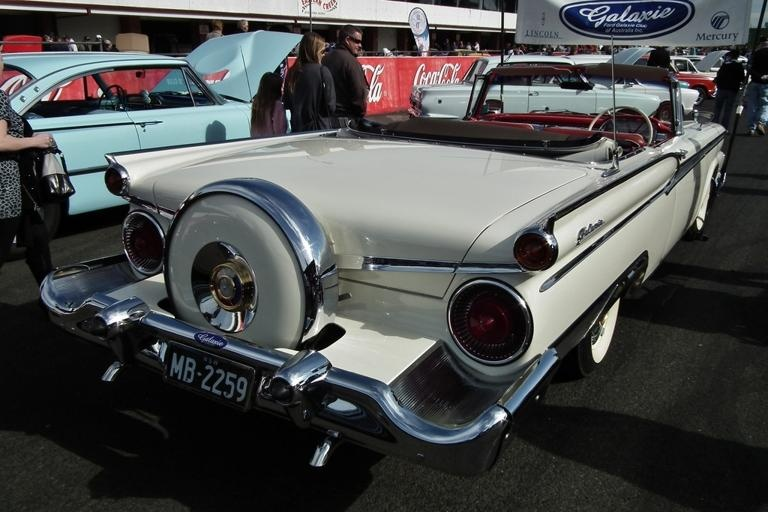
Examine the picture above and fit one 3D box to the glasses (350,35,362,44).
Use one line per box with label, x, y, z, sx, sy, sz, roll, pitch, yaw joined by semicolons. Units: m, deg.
glasses;-0.372;-2.804;6.109;0.153;0.051;0.160;8;19;24
